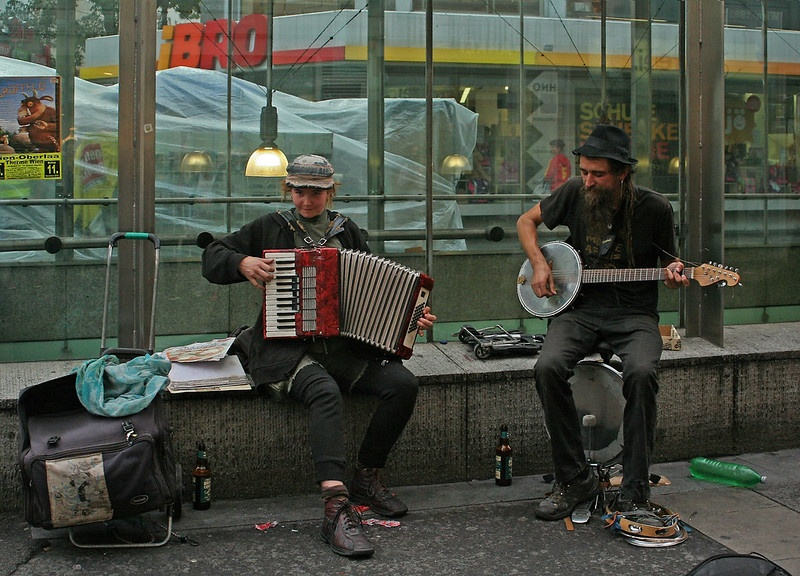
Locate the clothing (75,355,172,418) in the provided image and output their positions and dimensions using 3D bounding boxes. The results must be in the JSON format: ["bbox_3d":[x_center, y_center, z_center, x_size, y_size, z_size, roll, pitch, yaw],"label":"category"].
[{"bbox_3d":[-1.580,0.509,5.396,0.458,0.206,0.534,29,32,34],"label":"clothing"}]

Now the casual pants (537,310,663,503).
[{"bbox_3d":[1.194,0.677,5.674,0.720,1.032,0.627,1,8,15],"label":"casual pants"}]

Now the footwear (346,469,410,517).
[{"bbox_3d":[-0.134,1.233,5.747,0.391,0.250,0.150,11,13,35],"label":"footwear"}]

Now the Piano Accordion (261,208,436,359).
[{"bbox_3d":[-0.299,-0.057,5.913,1.329,0.833,0.608,12,7,2],"label":"Piano Accordion"}]

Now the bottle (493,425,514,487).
[{"bbox_3d":[0.675,1.091,6.136,0.107,0.390,0.143,0,8,10],"label":"bottle"}]

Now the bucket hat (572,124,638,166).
[{"bbox_3d":[1.266,-0.886,5.776,0.305,0.130,0.269,16,6,20],"label":"bucket hat"}]

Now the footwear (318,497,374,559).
[{"bbox_3d":[-0.293,1.326,5.276,0.179,0.346,0.285,-5,9,-26],"label":"footwear"}]

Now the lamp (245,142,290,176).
[{"bbox_3d":[-0.974,-0.933,6.902,0.298,0.201,0.295,-1,3,-16],"label":"lamp"}]

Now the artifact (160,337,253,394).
[{"bbox_3d":[-1.179,0.502,5.794,0.390,0.141,0.396,-4,15,-13],"label":"artifact"}]

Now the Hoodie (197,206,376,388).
[{"bbox_3d":[-0.853,-0.012,5.612,1.094,1.079,0.391,-2,-16,-14],"label":"Hoodie"}]

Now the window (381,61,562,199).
[{"bbox_3d":[0.905,-1.151,7.466,1.510,1.029,0.869,-1,3,43],"label":"window"}]
